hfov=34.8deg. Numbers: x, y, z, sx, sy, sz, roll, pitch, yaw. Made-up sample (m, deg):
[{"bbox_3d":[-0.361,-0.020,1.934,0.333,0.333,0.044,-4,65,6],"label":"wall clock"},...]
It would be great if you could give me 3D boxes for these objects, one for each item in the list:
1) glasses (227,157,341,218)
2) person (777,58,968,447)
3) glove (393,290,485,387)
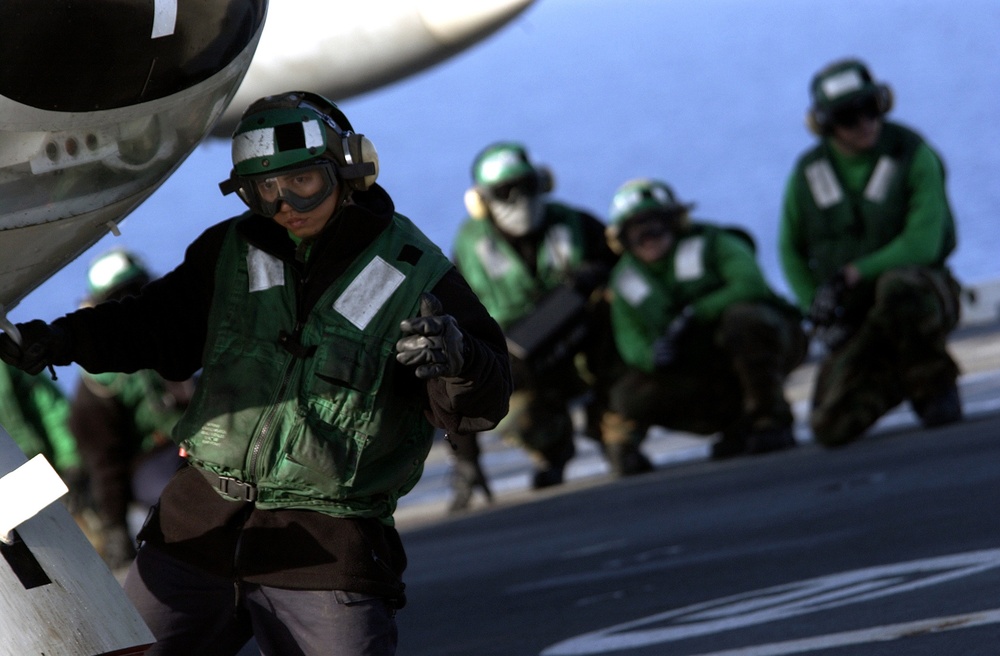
[{"bbox_3d":[-0.603,-0.390,4.599,0.176,0.088,0.198,-12,2,10],"label":"glasses"},{"bbox_3d":[1.563,-0.335,6.911,0.809,1.701,0.257,-14,-1,6],"label":"person"},{"bbox_3d":[-0.161,0.034,4.272,0.183,0.222,0.109,1,6,-20],"label":"glove"}]
